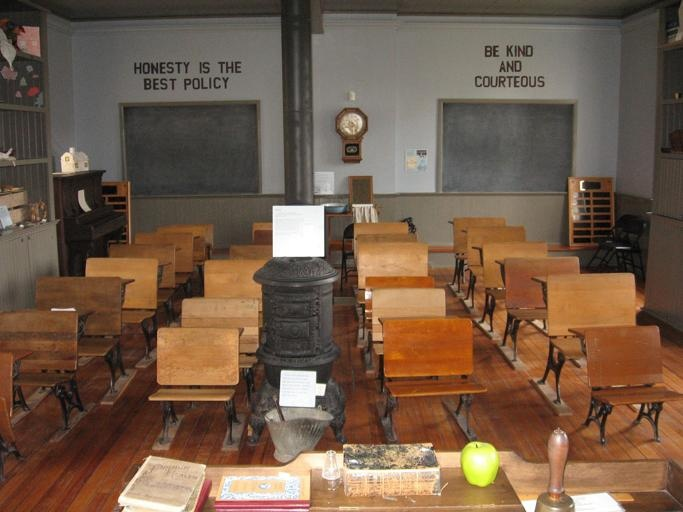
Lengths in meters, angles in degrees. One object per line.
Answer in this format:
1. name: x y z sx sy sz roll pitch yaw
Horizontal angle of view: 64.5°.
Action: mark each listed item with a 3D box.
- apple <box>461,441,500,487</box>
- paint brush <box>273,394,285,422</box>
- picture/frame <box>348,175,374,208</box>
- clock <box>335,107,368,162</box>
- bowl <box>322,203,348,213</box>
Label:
1. apple: 0.641 0.975 2.503 0.177 0.185 0.182 -5 -6 21
2. paint brush: -0.493 1.196 4.231 0.059 0.227 0.061 -17 5 -18
3. picture/frame: 0.356 -1.204 10.111 0.630 0.829 0.061 0 -1 -5
4. clock: 0.190 -2.240 10.042 0.580 1.008 0.183 0 14 1
5. bowl: -0.092 -0.875 9.884 0.448 0.147 0.629 0 13 0
